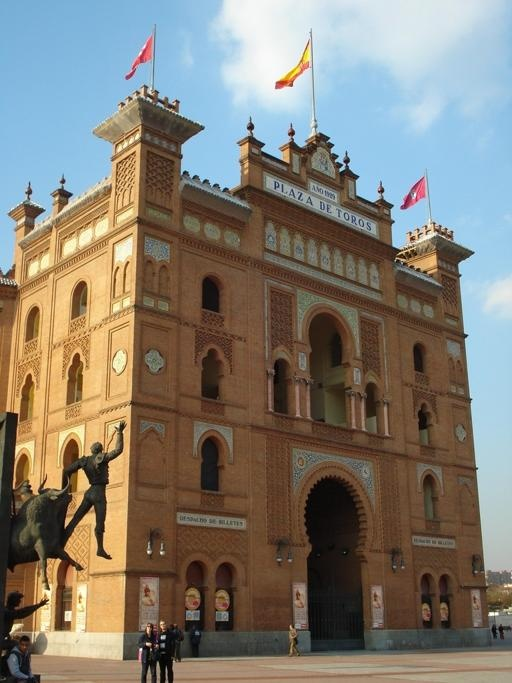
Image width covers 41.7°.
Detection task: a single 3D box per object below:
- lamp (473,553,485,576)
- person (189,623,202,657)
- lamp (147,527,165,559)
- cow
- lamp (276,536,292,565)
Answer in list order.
[{"bbox_3d":[9.470,9.580,28.767,0.194,0.866,0.739,-21,-28,39],"label":"lamp"},{"bbox_3d":[-1.636,8.100,18.152,0.325,0.808,0.812,0,-21,-5],"label":"person"},{"bbox_3d":[-2.702,5.399,17.931,0.440,0.833,0.654,-20,-27,38],"label":"lamp"},{"bbox_3d":[-2.590,2.296,8.132,0.732,1.343,1.199,5,-23,-18],"label":"cow"},{"bbox_3d":[0.873,6.661,21.209,0.231,0.804,0.712,-16,-25,30],"label":"lamp"}]
